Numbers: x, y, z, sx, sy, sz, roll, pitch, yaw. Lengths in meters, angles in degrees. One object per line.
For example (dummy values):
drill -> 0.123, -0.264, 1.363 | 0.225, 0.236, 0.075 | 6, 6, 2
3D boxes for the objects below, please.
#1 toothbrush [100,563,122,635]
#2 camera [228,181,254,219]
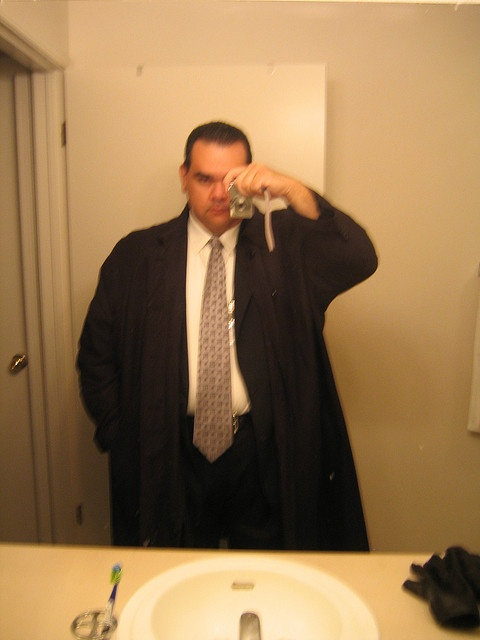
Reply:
toothbrush -> -0.197, 0.439, 0.861 | 0.016, 0.094, 0.016 | 6, -36, 12
camera -> 0.002, -0.304, 1.410 | 0.058, 0.155, 0.071 | 0, 3, 2
